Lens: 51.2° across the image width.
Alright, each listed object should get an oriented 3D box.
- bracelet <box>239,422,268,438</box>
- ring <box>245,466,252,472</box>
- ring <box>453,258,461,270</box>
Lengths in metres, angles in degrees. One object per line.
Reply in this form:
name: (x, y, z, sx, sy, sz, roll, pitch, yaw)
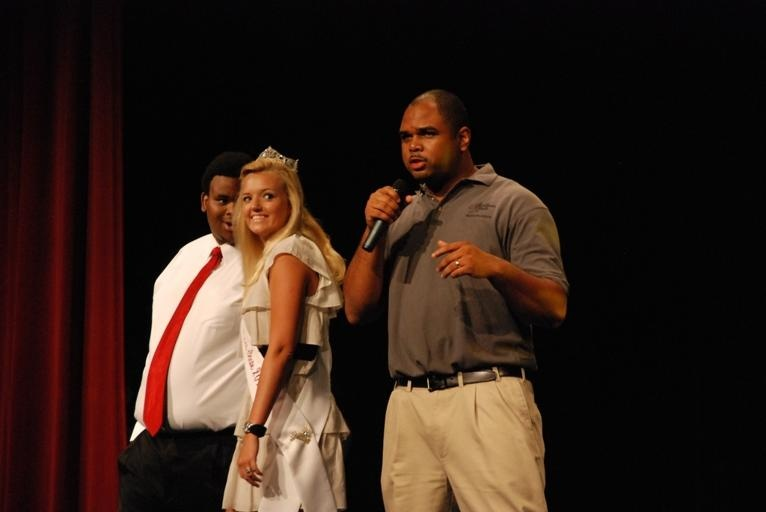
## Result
bracelet: (-0.511, 0.676, 3.199, 0.074, 0.054, 0.079, 1, -10, 43)
ring: (-0.536, 0.845, 3.181, 0.016, 0.028, 0.016, -2, -10, 0)
ring: (0.278, 0.026, 2.997, 0.038, 0.039, 0.009, 2, 3, 5)
